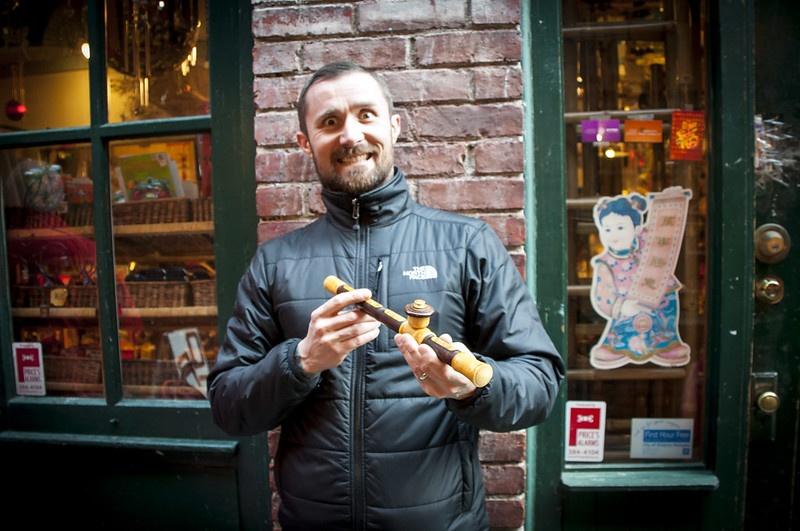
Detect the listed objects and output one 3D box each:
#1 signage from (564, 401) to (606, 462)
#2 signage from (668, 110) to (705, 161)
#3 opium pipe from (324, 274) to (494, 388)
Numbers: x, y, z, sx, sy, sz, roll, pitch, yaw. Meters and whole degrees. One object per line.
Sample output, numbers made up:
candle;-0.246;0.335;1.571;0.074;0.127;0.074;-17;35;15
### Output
signage;0.981;0.875;4.918;0.220;0.330;0.031;2;7;-1
signage;1.517;-0.682;4.885;0.166;0.293;0.032;5;37;19
opium pipe;0.037;0.312;4.178;0.811;0.228;0.116;32;27;28
